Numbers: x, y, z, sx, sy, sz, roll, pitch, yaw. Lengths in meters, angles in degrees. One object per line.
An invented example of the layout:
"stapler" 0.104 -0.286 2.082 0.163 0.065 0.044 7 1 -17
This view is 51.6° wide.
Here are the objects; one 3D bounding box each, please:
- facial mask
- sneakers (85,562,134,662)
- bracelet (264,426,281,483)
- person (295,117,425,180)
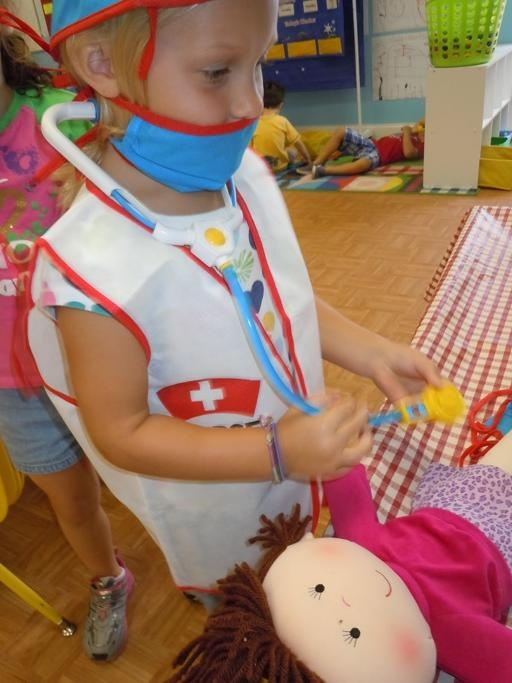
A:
"facial mask" -0.081 -0.214 0.573 0.099 0.078 0.129 24 34 35
"sneakers" -0.309 0.594 1.176 0.074 0.088 0.204 -1 52 -3
"bracelet" 0.020 0.123 0.584 0.014 0.048 0.036 -7 28 -7
"person" 0.941 -1.519 4.146 1.205 0.372 0.619 -1 17 8
